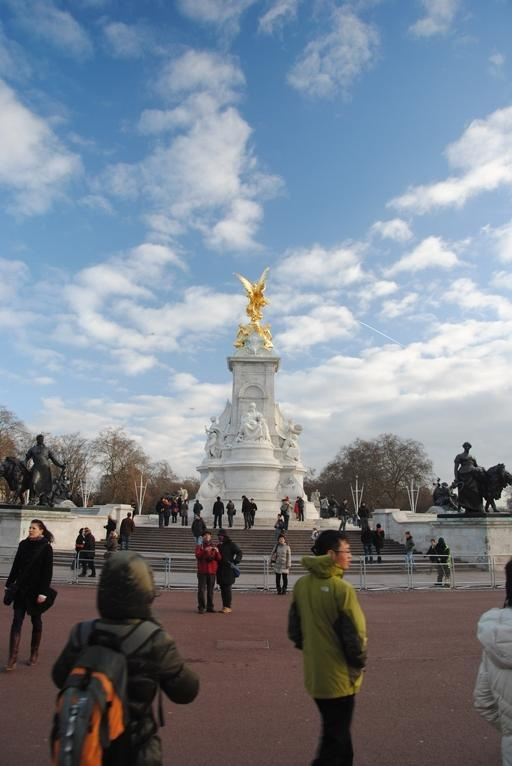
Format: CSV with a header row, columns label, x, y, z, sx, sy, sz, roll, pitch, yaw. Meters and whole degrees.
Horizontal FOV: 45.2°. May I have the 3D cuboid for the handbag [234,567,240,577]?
label,x,y,z,sx,sy,sz,roll,pitch,yaw
handbag,-0.399,3.785,12.249,0.073,0.147,0.168,-2,-10,8

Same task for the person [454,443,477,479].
label,x,y,z,sx,sy,sz,roll,pitch,yaw
person,8.230,3.157,24.184,0.805,1.421,1.137,-3,-11,16

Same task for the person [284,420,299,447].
label,x,y,z,sx,sy,sz,roll,pitch,yaw
person,2.496,3.568,42.412,0.993,1.892,1.064,-1,-10,4

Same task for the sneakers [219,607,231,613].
label,x,y,z,sx,sy,sz,roll,pitch,yaw
sneakers,-0.599,4.482,12.074,0.224,0.083,0.299,1,-10,-4

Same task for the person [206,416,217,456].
label,x,y,z,sx,sy,sz,roll,pitch,yaw
person,-3.033,3.853,42.293,0.775,2.738,1.367,1,-11,-4
